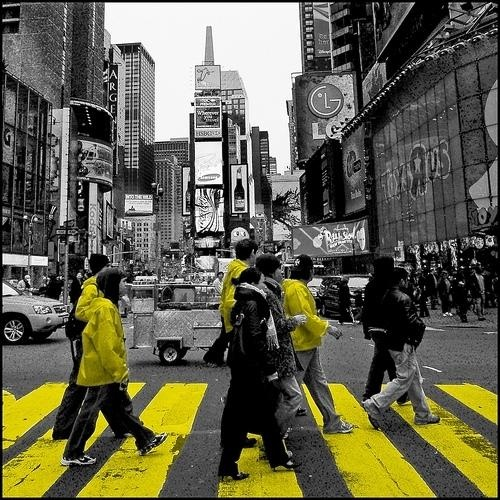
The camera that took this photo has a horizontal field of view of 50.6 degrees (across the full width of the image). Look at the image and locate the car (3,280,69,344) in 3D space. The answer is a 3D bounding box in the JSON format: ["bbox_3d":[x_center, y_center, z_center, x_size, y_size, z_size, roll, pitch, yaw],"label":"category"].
[{"bbox_3d":[-5.403,1.669,13.267,2.485,1.556,1.513,-2,-1,4],"label":"car"}]

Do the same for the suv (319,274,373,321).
[{"bbox_3d":[4.098,1.954,22.031,1.712,2.212,4.049,0,-7,-6],"label":"suv"}]

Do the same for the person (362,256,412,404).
[{"bbox_3d":[1.649,0.942,6.664,0.598,1.841,0.626,2,2,6],"label":"person"}]

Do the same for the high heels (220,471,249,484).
[{"bbox_3d":[-0.128,2.002,4.658,0.263,0.145,0.107,-2,-5,-2],"label":"high heels"}]

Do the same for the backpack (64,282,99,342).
[{"bbox_3d":[-1.766,0.678,5.564,0.303,0.844,0.352,-3,9,-30],"label":"backpack"}]

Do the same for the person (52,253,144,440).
[{"bbox_3d":[-1.315,1.139,5.325,0.883,1.892,0.546,3,-2,-35],"label":"person"}]

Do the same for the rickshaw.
[{"bbox_3d":[-1.480,1.500,11.034,1.718,1.787,1.374,-1,-2,-2],"label":"rickshaw"}]

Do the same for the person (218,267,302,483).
[{"bbox_3d":[0.019,1.102,4.766,0.638,1.872,0.378,-2,-2,-3],"label":"person"}]

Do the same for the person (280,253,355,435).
[{"bbox_3d":[0.728,0.996,6.044,0.744,2.091,0.760,3,4,-2],"label":"person"}]

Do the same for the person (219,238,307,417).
[{"bbox_3d":[0.628,1.079,5.967,1.007,2.008,0.651,-1,-5,-7],"label":"person"}]
